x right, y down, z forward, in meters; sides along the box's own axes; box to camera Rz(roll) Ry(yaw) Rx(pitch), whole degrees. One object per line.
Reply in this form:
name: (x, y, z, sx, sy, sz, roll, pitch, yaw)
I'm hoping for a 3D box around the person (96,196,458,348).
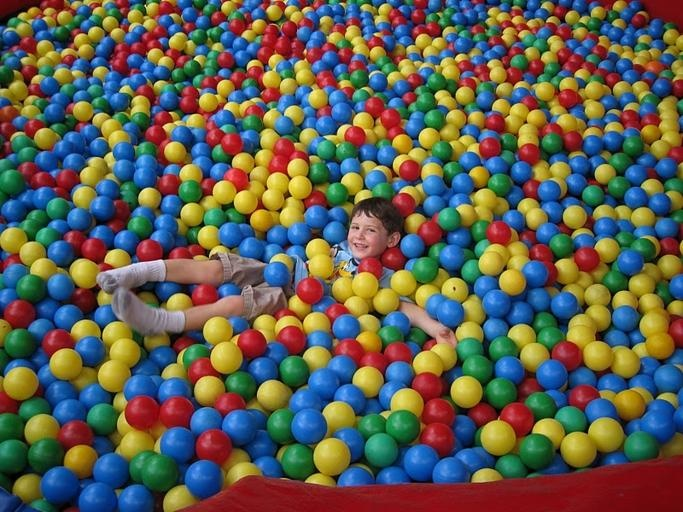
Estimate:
person: (-0.461, -0.023, 3.695, 1.347, 0.442, 1.289, -12, 39, -3)
